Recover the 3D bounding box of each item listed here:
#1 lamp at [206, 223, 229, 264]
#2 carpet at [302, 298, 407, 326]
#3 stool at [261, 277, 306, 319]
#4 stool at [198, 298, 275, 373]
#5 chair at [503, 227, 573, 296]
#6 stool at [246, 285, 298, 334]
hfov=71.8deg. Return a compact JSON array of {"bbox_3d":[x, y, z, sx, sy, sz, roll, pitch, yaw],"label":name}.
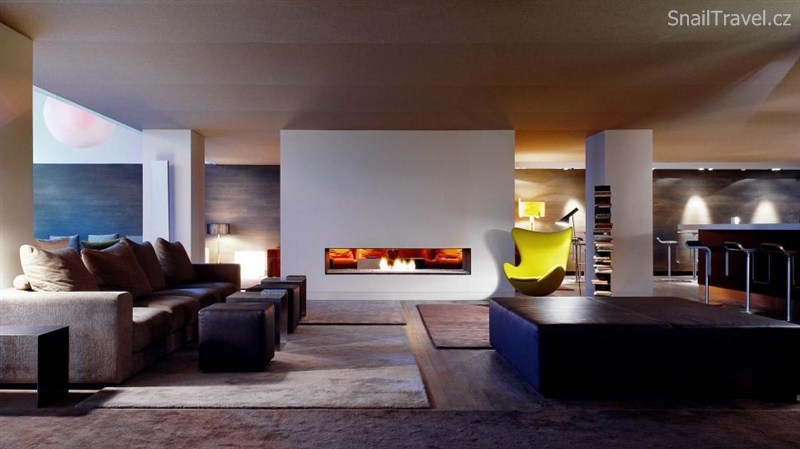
[{"bbox_3d":[-4.206,0.405,12.645,0.541,0.756,0.469,-2,1,-1],"label":"lamp"},{"bbox_3d":[-0.709,1.361,8.634,1.504,0.190,1.691,-1,0,-2],"label":"carpet"},{"bbox_3d":[-1.603,1.044,8.095,0.729,0.533,0.637,0,14,1],"label":"stool"},{"bbox_3d":[-1.895,1.314,6.598,0.913,0.612,0.803,0,-1,1],"label":"stool"},{"bbox_3d":[2.264,0.635,9.066,1.076,0.997,1.239,0,7,33],"label":"chair"},{"bbox_3d":[-1.685,1.127,7.507,0.760,0.538,0.671,0,0,0],"label":"stool"}]
